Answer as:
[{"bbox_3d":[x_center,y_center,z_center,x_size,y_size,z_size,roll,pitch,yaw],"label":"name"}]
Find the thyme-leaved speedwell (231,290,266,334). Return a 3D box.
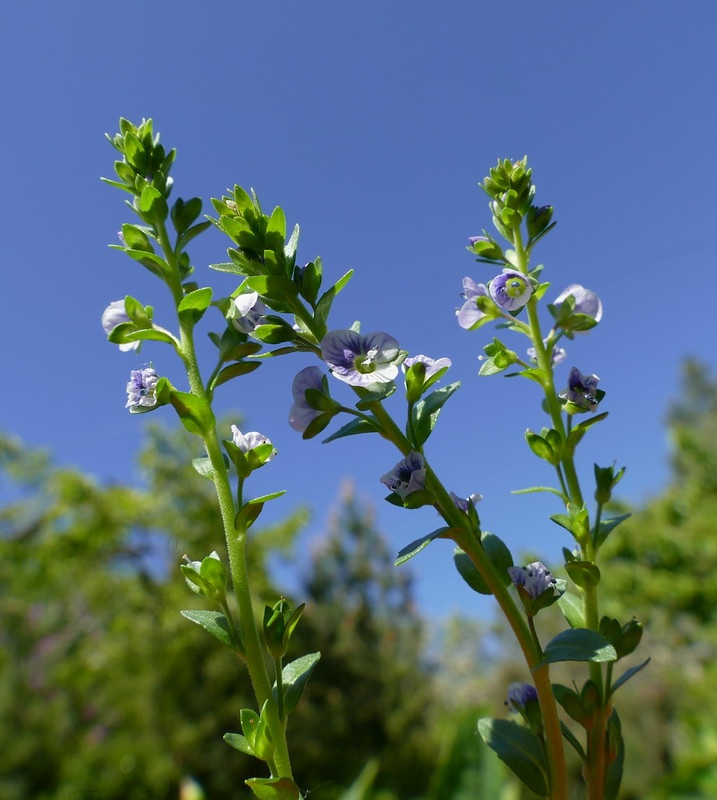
[{"bbox_3d":[-0.284,-0.222,2.575,0.081,0.108,0.066,8,11,-9],"label":"thyme-leaved speedwell"}]

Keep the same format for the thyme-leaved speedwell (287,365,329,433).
[{"bbox_3d":[-0.132,-0.006,2.533,0.112,0.155,0.114,-11,-30,8],"label":"thyme-leaved speedwell"}]

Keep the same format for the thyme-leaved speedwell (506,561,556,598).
[{"bbox_3d":[0.444,0.459,2.549,0.092,0.101,0.066,26,-62,11],"label":"thyme-leaved speedwell"}]

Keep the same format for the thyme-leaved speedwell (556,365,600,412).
[{"bbox_3d":[0.602,-0.023,2.671,0.093,0.107,0.085,9,-33,-25],"label":"thyme-leaved speedwell"}]

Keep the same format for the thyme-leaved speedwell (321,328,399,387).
[{"bbox_3d":[0.008,-0.106,2.536,0.163,0.187,0.109,0,-21,-4],"label":"thyme-leaved speedwell"}]

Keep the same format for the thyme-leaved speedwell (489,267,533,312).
[{"bbox_3d":[0.412,-0.294,2.692,0.119,0.101,0.082,-13,-30,10],"label":"thyme-leaved speedwell"}]

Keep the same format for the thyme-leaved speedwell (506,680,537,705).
[{"bbox_3d":[0.428,0.777,2.635,0.059,0.075,0.030,7,-3,0],"label":"thyme-leaved speedwell"}]

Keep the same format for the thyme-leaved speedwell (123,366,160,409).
[{"bbox_3d":[-0.527,-0.020,2.446,0.110,0.129,0.088,1,7,11],"label":"thyme-leaved speedwell"}]
